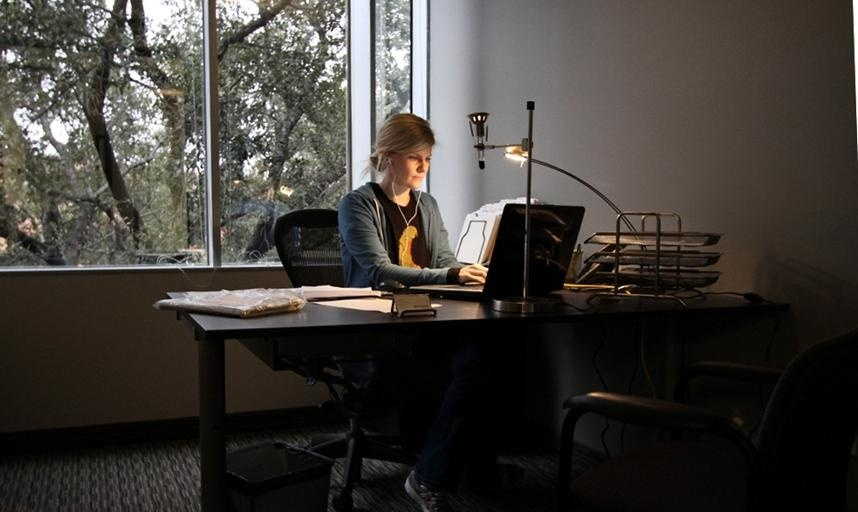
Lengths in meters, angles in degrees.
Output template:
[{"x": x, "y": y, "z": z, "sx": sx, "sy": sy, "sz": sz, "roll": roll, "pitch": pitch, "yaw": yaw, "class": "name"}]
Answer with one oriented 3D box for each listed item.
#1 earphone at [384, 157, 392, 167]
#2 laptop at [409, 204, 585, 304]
[{"x": -0.215, "y": -0.489, "z": 3.347, "sx": 0.041, "sy": 0.020, "sz": 0.055, "roll": 0, "pitch": -10, "yaw": -13, "class": "earphone"}, {"x": 0.349, "y": -0.014, "z": 2.931, "sx": 0.507, "sy": 0.339, "sz": 0.562, "roll": -1, "pitch": 0, "yaw": 32, "class": "laptop"}]
